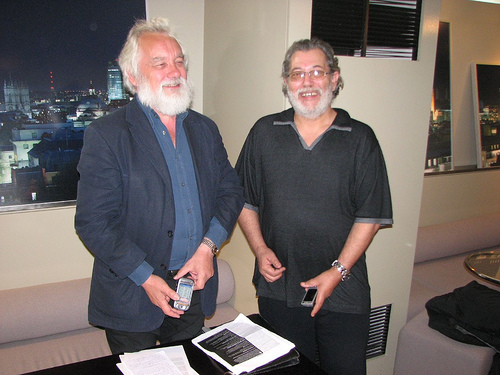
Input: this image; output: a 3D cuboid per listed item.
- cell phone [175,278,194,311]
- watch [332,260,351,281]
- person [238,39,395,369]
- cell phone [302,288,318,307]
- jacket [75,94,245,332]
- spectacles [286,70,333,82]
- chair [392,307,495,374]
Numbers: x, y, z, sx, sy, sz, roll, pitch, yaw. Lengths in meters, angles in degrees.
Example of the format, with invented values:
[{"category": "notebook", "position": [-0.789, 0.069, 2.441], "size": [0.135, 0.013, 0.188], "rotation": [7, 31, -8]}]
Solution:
[{"category": "cell phone", "position": [-0.310, 0.504, 1.679], "size": [0.070, 0.141, 0.034], "rotation": [22, -27, -18]}, {"category": "watch", "position": [0.478, 0.436, 1.883], "size": [0.079, 0.055, 0.084], "rotation": [44, -1, 25]}, {"category": "person", "position": [0.319, 0.097, 2.016], "size": [0.776, 1.786, 0.577], "rotation": [12, 20, 44]}, {"category": "cell phone", "position": [0.310, 0.562, 1.839], "size": [0.052, 0.072, 0.085], "rotation": [9, 19, 38]}, {"category": "jacket", "position": [-0.477, 0.139, 1.857], "size": [0.816, 1.175, 0.359], "rotation": [-12, 17, -33]}, {"category": "spectacles", "position": [0.336, -0.613, 1.965], "size": [0.233, 0.054, 0.076], "rotation": [-4, 15, -7]}, {"category": "chair", "position": [1.392, 1.228, 2.643], "size": [0.466, 0.377, 0.453], "rotation": [1, 16, 16]}]
